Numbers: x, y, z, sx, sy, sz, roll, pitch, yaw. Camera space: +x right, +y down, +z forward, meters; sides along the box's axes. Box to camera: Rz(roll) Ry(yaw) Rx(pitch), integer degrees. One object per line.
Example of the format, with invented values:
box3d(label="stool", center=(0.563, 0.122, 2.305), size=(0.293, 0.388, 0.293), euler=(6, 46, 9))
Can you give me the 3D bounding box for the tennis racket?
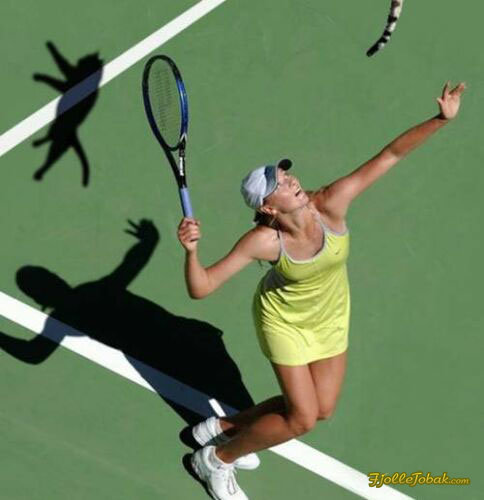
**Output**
box3d(label="tennis racket", center=(-0.482, -0.702, 4.941), size=(0.072, 1.646, 0.396), euler=(27, 58, 29))
